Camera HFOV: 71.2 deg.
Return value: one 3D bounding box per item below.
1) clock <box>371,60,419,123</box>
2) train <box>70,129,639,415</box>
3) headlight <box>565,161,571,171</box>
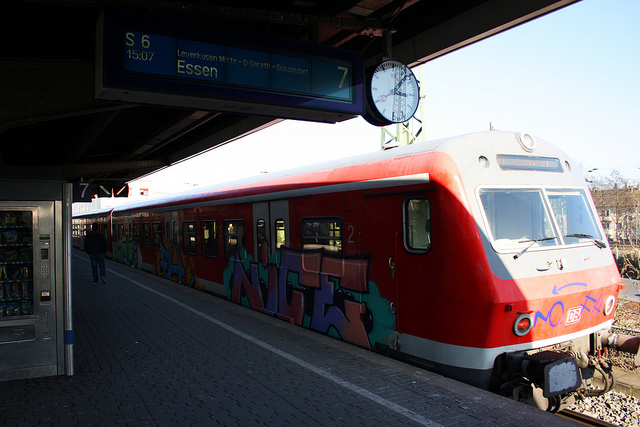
[{"bbox_3d":[1.333,-2.174,8.050,1.010,1.129,0.166,5,-8,-19],"label":"clock"},{"bbox_3d":[-0.282,0.606,11.683,14.162,4.622,3.160,4,8,45],"label":"train"},{"bbox_3d":[4.539,-0.862,8.175,0.095,0.166,0.037,-1,-16,-41],"label":"headlight"}]
